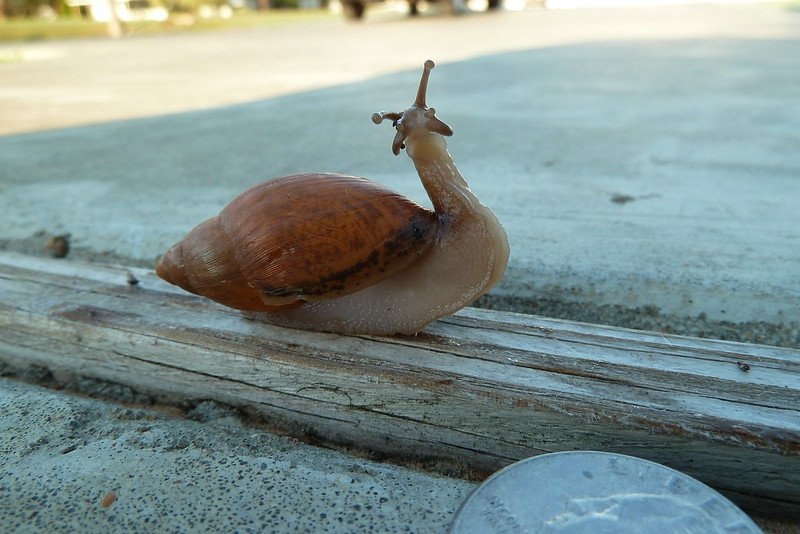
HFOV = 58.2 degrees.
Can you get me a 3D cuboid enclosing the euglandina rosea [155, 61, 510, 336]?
[{"bbox_3d":[-0.247,-0.151,2.777,1.198,0.865,0.544,-12,32,-9],"label":"euglandina rosea"}]
